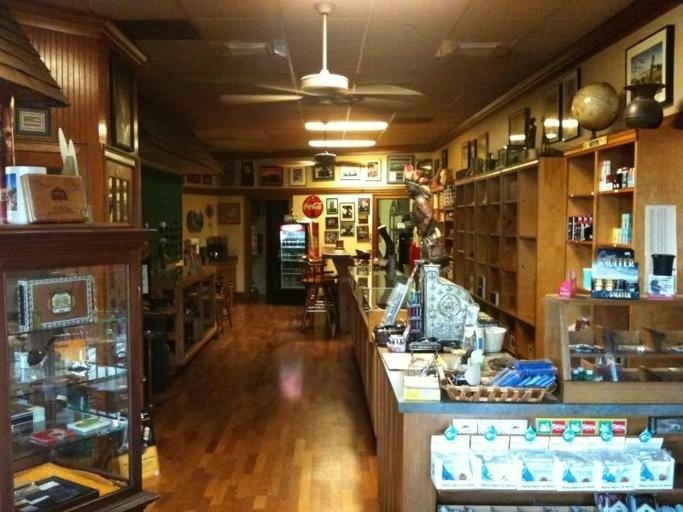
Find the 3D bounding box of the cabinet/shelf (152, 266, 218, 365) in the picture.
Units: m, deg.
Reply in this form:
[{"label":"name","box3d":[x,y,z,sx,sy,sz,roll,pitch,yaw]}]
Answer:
[{"label":"cabinet/shelf","box3d":[-2.111,0.805,7.330,0.373,0.613,1.264,0,4,3]}]

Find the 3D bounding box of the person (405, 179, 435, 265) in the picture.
[{"label":"person","box3d":[0.851,-0.387,5.882,0.301,0.891,0.694,1,7,9]}]

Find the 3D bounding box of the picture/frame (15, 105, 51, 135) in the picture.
[{"label":"picture/frame","box3d":[-2.453,-1.082,4.337,0.237,0.231,0.025,1,-7,-23]}]

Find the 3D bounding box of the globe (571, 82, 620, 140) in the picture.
[{"label":"globe","box3d":[2.346,-1.339,5.088,0.435,0.512,0.424,3,6,-33]}]

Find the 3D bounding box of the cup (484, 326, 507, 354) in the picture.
[{"label":"cup","box3d":[1.095,0.599,3.930,0.169,0.121,0.168,0,-1,0]}]

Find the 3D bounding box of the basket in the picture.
[{"label":"basket","box3d":[0.883,0.772,3.110,0.624,0.093,0.145,1,7,9]}]
